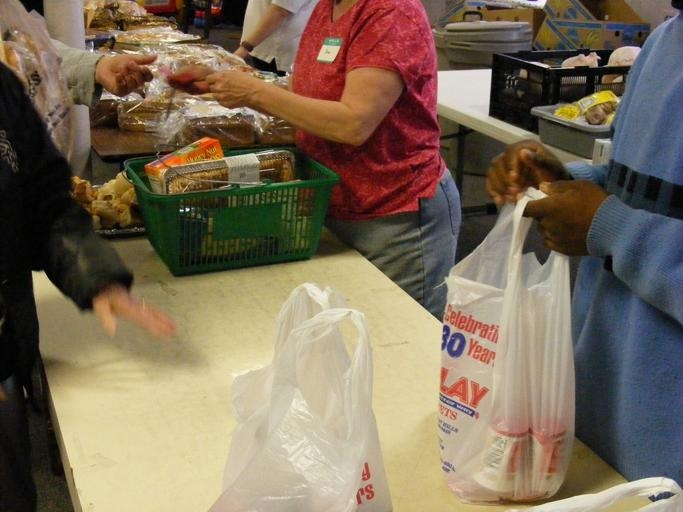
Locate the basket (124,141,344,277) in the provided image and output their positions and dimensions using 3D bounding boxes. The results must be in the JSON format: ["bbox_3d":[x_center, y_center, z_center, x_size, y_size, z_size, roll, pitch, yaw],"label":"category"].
[{"bbox_3d":[-0.373,-0.138,1.771,0.551,0.269,0.370,-9,26,-33],"label":"basket"}]
